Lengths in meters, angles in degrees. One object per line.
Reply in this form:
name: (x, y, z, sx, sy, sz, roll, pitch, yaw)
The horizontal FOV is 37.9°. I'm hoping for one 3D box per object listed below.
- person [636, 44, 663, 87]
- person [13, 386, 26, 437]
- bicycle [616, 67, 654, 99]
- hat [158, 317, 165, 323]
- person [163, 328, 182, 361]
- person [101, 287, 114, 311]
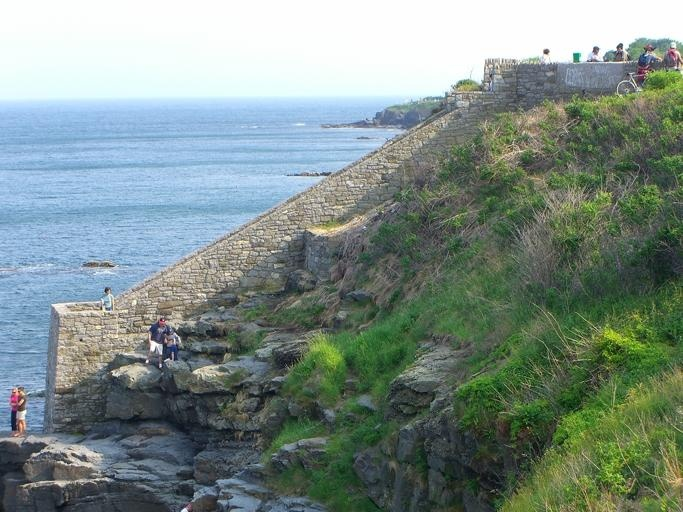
person: (9.622, -5.961, 30.972, 0.731, 1.284, 2.502, 5, 11, 18)
person: (-10.632, 5.112, 32.690, 0.291, 1.374, 1.100, -1, 11, -16)
bicycle: (9.021, -5.451, 30.965, 1.502, 0.977, 0.771, 5, 9, 38)
hat: (-6.053, 2.184, 33.465, 0.183, 0.145, 0.234, 3, -8, -17)
person: (-5.651, 3.025, 33.141, 0.601, 1.413, 0.441, -4, 22, -2)
person: (-8.077, 1.433, 34.133, 0.410, 0.822, 0.752, -1, 11, -13)
